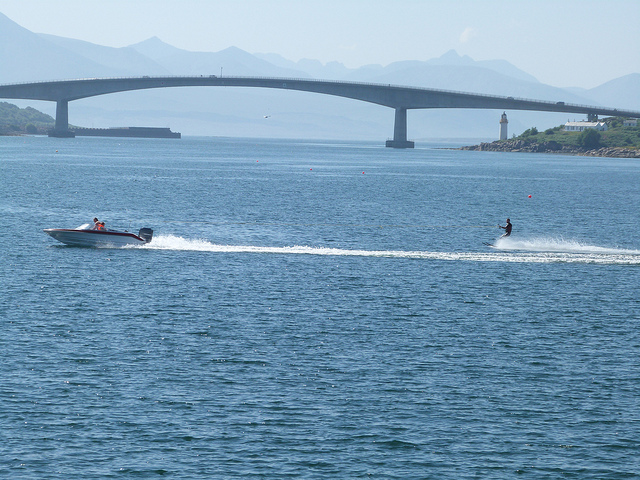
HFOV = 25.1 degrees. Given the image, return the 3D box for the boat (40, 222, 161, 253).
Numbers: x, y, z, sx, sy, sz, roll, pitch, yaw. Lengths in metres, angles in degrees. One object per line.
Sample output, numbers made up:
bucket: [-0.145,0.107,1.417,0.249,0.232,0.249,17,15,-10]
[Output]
boat: [-16.465,-0.039,110.591,10.507,2.021,2.570,2,-2,1]
